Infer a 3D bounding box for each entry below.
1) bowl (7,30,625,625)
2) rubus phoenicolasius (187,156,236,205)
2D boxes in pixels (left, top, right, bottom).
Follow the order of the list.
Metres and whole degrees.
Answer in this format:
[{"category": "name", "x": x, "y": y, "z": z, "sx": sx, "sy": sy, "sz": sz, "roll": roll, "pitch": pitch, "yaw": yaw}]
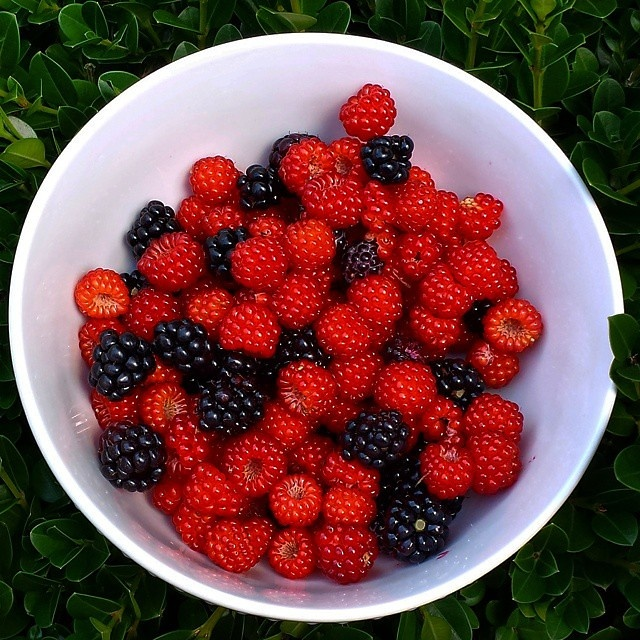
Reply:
[{"category": "bowl", "x": -0.001, "y": -0.022, "z": 1.425, "sx": 1.135, "sy": 0.344, "sz": 1.084, "roll": 0, "pitch": 84, "yaw": 0}, {"category": "rubus phoenicolasius", "x": -0.235, "y": -0.293, "z": 1.548, "sx": 0.092, "sy": 0.103, "sz": 0.079, "roll": 7, "pitch": 88, "yaw": -21}]
